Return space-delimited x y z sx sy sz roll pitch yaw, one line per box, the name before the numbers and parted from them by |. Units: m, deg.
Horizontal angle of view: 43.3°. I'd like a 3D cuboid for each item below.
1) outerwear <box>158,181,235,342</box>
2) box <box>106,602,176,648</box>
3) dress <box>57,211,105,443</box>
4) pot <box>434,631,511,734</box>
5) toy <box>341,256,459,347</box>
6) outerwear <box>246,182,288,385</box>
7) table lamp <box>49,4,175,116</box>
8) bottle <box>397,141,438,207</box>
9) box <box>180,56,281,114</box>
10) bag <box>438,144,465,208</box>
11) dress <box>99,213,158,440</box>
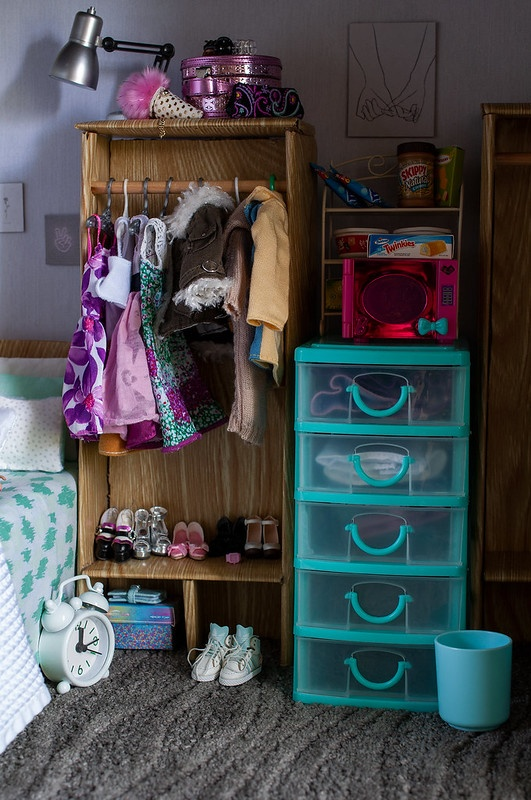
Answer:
outerwear | -0.161 -0.362 1.684 0.198 0.402 0.285 0 1 -18
box | -0.359 0.657 1.890 0.145 0.088 0.143 1 -4 -1
dress | -0.472 -0.198 1.757 0.115 0.589 0.182 0 1 -19
pot | 0.474 0.637 1.515 0.176 0.183 0.168 -2 -4 0
toy | 0.354 -0.272 1.755 0.294 0.226 0.180 4 22 17
outerwear | 0.008 -0.311 1.631 0.097 0.441 0.174 0 1 -1
table lamp | -0.443 -1.029 2.016 0.351 0.242 0.246 0 1 -2
bottle | 0.409 -0.598 1.805 0.099 0.167 0.084 0 1 9
box | -0.093 -0.876 1.898 0.268 0.156 0.275 1 21 11
bag | 0.499 -0.600 1.819 0.049 0.153 0.076 0 1 -32
dress | -0.348 -0.164 1.752 0.148 0.599 0.168 0 1 -12
